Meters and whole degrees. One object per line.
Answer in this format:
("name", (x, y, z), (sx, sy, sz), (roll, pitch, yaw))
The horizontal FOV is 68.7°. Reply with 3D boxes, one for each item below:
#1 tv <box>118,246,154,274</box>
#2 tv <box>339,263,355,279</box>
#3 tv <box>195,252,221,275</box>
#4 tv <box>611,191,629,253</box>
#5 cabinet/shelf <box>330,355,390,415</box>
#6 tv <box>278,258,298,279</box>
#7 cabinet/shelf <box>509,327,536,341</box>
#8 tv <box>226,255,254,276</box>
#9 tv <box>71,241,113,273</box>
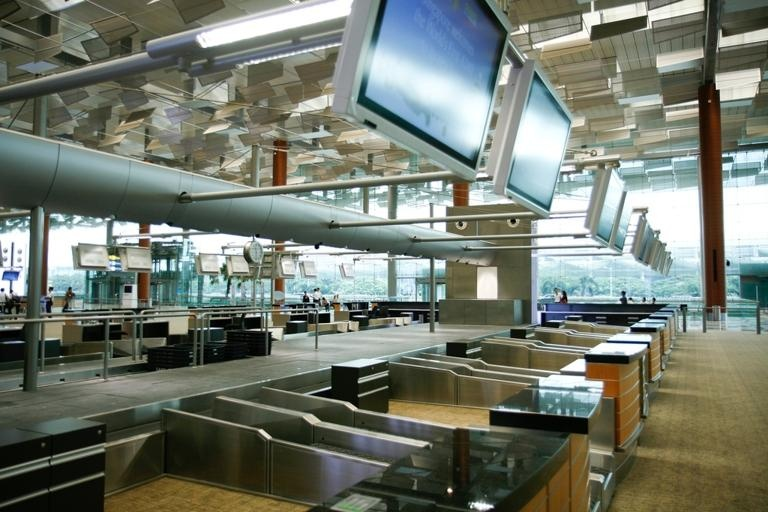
("tv", (-8.100, 0.057, 18.239), (0.595, 0.811, 1.228), (-1, -3, 16))
("tv", (-2.274, 0.837, 33.860), (0.530, 0.801, 1.340), (-15, -8, 26))
("tv", (-6.526, 0.257, 20.613), (0.415, 0.747, 1.133), (-1, -3, 20))
("tv", (4.879, -0.761, 11.581), (0.229, 0.857, 1.585), (-1, -9, 33))
("cabinet/shelf", (-0.469, 2.525, 10.856), (0.740, 0.973, 1.245), (-8, -11, 27))
("tv", (-3.786, 0.450, 21.591), (0.176, 0.583, 1.076), (-8, -2, 18))
("cabinet/shelf", (4.242, 2.362, 17.218), (0.628, 0.303, 1.414), (-1, -2, 21))
("tv", (-5.033, 0.301, 19.393), (0.292, 0.670, 0.850), (-22, -16, 29))
("tv", (-8.546, -0.012, 16.264), (0.538, 0.748, 0.986), (-1, -3, 21))
